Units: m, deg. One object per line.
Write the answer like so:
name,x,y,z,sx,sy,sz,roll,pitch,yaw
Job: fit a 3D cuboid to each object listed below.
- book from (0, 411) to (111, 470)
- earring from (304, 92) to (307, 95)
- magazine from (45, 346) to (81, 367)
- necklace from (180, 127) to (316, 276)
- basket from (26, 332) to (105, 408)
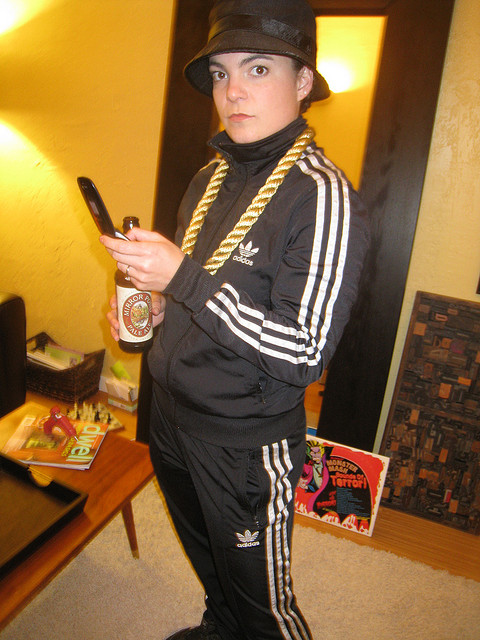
book,-0.555,0.364,1.513,0.178,0.019,0.195,6,18,2
earring,0.140,-0.492,1.081,0.007,0.007,0.002,-5,-1,-3
magazine,-0.869,0.173,2.428,0.116,0.028,0.116,17,3,31
necklace,0.047,-0.212,1.073,0.249,0.359,0.021,36,10,39
basket,-0.917,0.233,2.454,0.387,0.234,0.215,14,25,14
